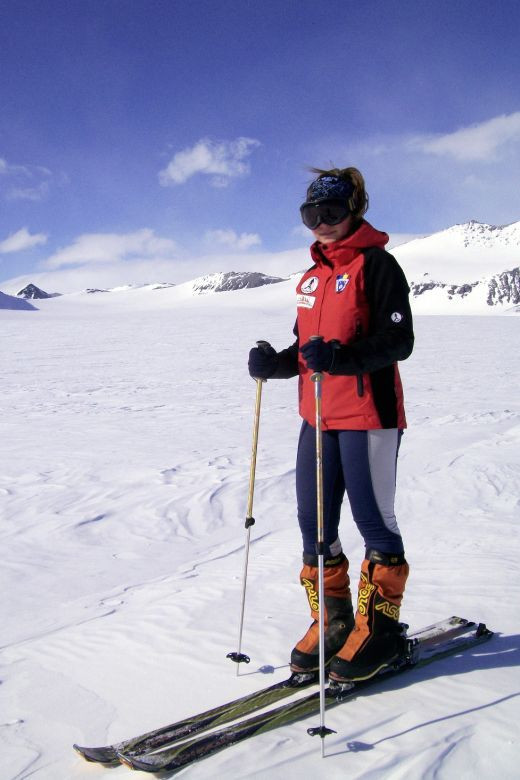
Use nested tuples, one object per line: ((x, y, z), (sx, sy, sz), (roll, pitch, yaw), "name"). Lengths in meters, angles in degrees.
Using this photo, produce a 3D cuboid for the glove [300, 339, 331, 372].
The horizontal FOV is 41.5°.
((0.213, -0.131, 2.583), (0.103, 0.126, 0.057), (-1, 6, -1), "glove")
